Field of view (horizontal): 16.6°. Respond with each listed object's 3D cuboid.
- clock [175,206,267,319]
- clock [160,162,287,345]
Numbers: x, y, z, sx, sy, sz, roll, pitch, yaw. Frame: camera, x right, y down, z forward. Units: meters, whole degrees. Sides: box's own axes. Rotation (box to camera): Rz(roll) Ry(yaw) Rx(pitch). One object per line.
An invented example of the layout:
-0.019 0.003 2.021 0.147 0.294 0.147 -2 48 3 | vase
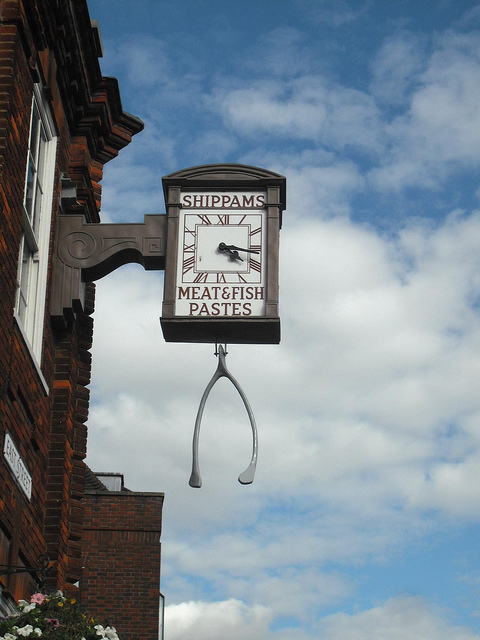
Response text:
-0.220 -0.718 18.054 1.180 1.860 0.200 1 -37 1 | clock
-0.220 -0.716 18.201 1.396 2.153 0.646 -1 -35 3 | clock
